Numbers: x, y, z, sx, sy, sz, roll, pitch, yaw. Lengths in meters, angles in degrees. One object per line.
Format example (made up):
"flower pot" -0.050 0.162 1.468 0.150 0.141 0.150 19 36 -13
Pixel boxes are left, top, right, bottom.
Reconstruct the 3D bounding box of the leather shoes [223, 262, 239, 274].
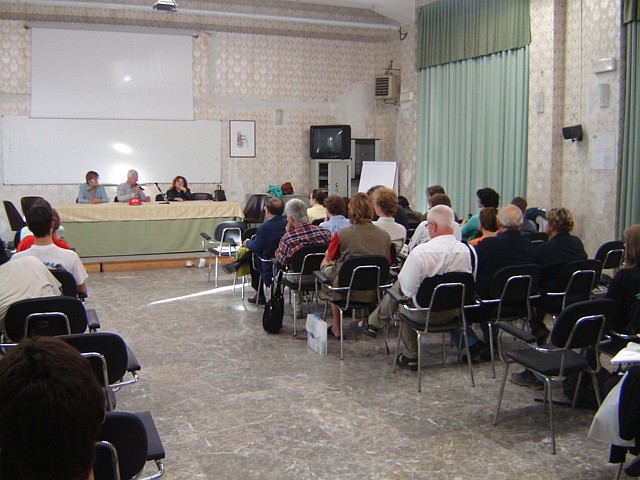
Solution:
"leather shoes" -1.038 0.329 6.464 0.125 0.121 0.319 -8 -3 -38

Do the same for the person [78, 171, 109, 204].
"person" -3.944 -0.783 9.378 0.406 0.843 0.488 10 12 41

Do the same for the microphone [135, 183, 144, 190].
"microphone" -3.336 -0.992 9.958 0.187 0.077 0.284 -1 3 -22

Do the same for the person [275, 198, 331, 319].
"person" -0.171 0.109 5.537 0.526 1.138 0.577 -12 23 -18

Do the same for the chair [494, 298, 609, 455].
"chair" 1.566 0.765 3.547 0.587 0.932 0.873 7 12 43

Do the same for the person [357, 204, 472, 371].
"person" 0.809 0.390 4.625 0.597 1.533 1.077 -4 15 -19

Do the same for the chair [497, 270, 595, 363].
"chair" 1.647 0.529 3.937 0.520 0.777 0.508 -7 16 -18

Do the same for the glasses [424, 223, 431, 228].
"glasses" 0.917 -0.125 4.615 0.056 0.038 0.084 -3 6 -1

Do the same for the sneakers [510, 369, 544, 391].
"sneakers" 1.593 1.081 4.159 0.106 0.192 0.242 0 8 -29

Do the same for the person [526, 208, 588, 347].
"person" 2.088 0.059 4.676 0.448 1.057 0.543 7 42 42

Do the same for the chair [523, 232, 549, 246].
"chair" 2.117 -0.008 5.318 0.115 0.200 0.128 0 12 -3

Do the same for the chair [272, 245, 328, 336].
"chair" -0.212 0.497 5.377 0.588 0.981 0.607 -6 15 -34

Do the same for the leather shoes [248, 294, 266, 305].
"leather shoes" -0.784 0.727 6.656 0.093 0.129 0.286 0 3 -31

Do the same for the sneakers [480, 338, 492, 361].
"sneakers" 1.436 0.970 4.695 0.071 0.179 0.169 1 6 12

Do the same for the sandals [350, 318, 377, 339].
"sandals" 0.448 0.829 4.991 0.111 0.112 0.338 4 4 -11

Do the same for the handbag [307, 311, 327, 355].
"handbag" -0.033 0.873 4.951 0.108 0.307 0.307 0 1 -15

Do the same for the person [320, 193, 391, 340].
"person" 0.302 0.289 5.133 0.607 1.545 0.700 0 8 -26

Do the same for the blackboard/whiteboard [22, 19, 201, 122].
"blackboard/whiteboard" -4.051 -3.243 10.557 2.921 1.678 0.151 -3 9 -19
